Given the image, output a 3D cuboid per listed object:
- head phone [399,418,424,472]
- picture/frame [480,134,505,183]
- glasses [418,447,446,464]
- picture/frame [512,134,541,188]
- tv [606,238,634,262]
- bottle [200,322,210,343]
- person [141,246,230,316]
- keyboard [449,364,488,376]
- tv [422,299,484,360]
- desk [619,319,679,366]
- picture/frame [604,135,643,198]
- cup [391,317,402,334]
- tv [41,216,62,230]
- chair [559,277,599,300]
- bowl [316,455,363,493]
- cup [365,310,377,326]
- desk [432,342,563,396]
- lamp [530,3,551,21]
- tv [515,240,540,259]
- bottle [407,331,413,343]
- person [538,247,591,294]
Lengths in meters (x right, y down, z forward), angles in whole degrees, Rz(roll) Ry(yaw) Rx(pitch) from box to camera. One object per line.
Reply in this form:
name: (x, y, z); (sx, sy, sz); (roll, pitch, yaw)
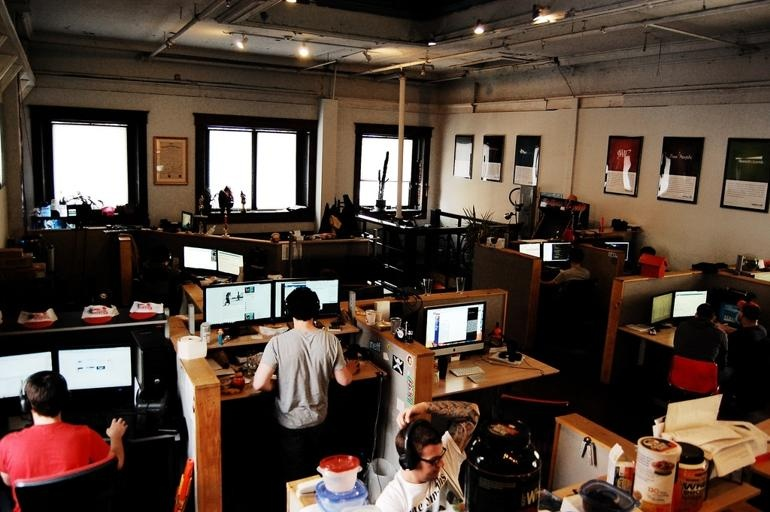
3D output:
head phone: (0.140, 1.185, 3.552); (0.108, 0.285, 0.289); (-2, 0, 8)
picture/frame: (2.212, -2.074, 11.918); (0.584, 0.955, 0.102); (-2, 9, -29)
glasses: (0.287, 1.220, 3.435); (0.121, 0.036, 0.123); (-1, -3, -37)
picture/frame: (2.818, -1.931, 11.167); (0.088, 0.980, 0.646); (-4, 8, -30)
tv: (3.877, -0.055, 9.289); (0.446, 0.377, 0.410); (-1, 10, 0)
bottle: (-1.726, 0.735, 5.382); (0.091, 0.214, 0.281); (-2, 7, -17)
person: (-2.933, 0.602, 7.929); (1.020, 0.997, 1.513); (-6, 15, -28)
keyboard: (0.827, 1.173, 5.699); (0.352, 0.039, 0.178); (-1, 7, -12)
tv: (0.680, 0.745, 5.719); (0.628, 0.430, 0.075); (-5, 11, -23)
desk: (3.328, 1.068, 7.083); (0.618, 0.372, 0.613); (-14, 20, -36)
picture/frame: (4.059, -1.541, 9.584); (0.047, 1.015, 0.641); (-5, 9, -37)
cup: (0.104, 0.667, 5.360); (0.119, 0.117, 0.117); (3, 14, -1)
tv: (-5.494, -0.556, 9.252); (0.422, 0.146, 0.183); (2, 7, 14)
chair: (2.719, 0.440, 7.934); (0.337, 0.431, 0.362); (-2, 13, -13)
bowl: (-0.289, 1.395, 3.567); (0.263, 0.178, 0.266); (-3, 7, 0)
cup: (-0.142, 0.619, 5.595); (0.126, 0.133, 0.128); (0, 5, 0)
desk: (1.006, 1.233, 5.773); (1.421, 0.379, 0.558); (-3, 8, -25)
lamp: (1.928, -3.032, 6.960); (0.177, 0.201, 0.169); (1, 7, 4)
tv: (2.226, -0.102, 8.781); (0.260, 0.245, 0.100); (-4, 9, -29)
bottle: (0.227, 0.745, 5.203); (0.044, 0.106, 0.055); (6, 9, 38)
person: (2.762, 0.233, 8.353); (0.869, 0.736, 0.437); (-2, 16, -19)
